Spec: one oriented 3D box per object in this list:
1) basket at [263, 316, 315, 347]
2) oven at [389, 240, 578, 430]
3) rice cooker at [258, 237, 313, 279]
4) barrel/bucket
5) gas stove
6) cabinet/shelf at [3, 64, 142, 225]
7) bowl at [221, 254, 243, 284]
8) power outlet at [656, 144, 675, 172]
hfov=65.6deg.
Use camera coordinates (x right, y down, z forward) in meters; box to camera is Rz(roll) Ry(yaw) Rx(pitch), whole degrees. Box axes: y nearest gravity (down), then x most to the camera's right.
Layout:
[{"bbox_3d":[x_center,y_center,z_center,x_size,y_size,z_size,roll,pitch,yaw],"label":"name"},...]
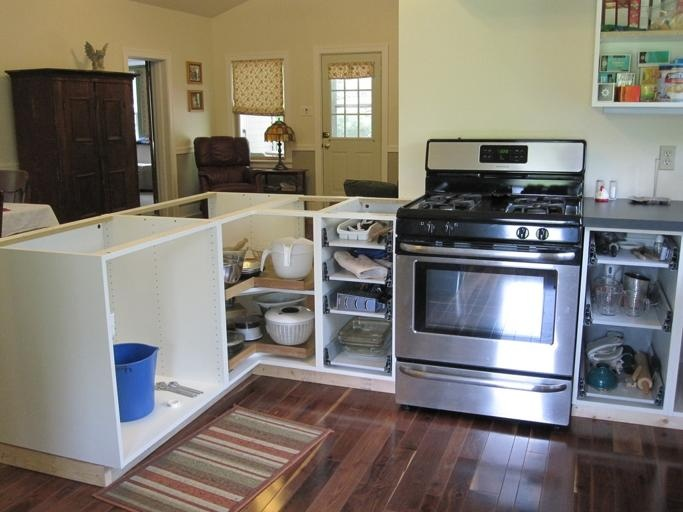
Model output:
[{"bbox_3d":[-0.317,0.426,3.044,0.203,0.088,0.192,3,8,20],"label":"basket"},{"bbox_3d":[0.819,0.341,2.991,0.885,0.915,0.825,3,11,20],"label":"oven"},{"bbox_3d":[-0.308,-0.004,3.006,0.283,0.187,0.212,-9,14,-43],"label":"rice cooker"},{"bbox_3d":[-0.992,0.553,2.453,0.213,0.375,0.205,8,16,-2],"label":"barrel/bucket"},{"bbox_3d":[0.758,-0.200,2.709,0.856,0.158,0.524,4,16,20],"label":"gas stove"},{"bbox_3d":[-2.628,-1.123,5.310,0.656,2.007,1.232,5,13,24],"label":"cabinet/shelf"},{"bbox_3d":[-0.591,0.076,2.878,0.127,0.108,0.148,0,6,0],"label":"bowl"},{"bbox_3d":[1.778,-0.535,2.888,0.085,0.136,0.040,5,17,23],"label":"power outlet"}]
